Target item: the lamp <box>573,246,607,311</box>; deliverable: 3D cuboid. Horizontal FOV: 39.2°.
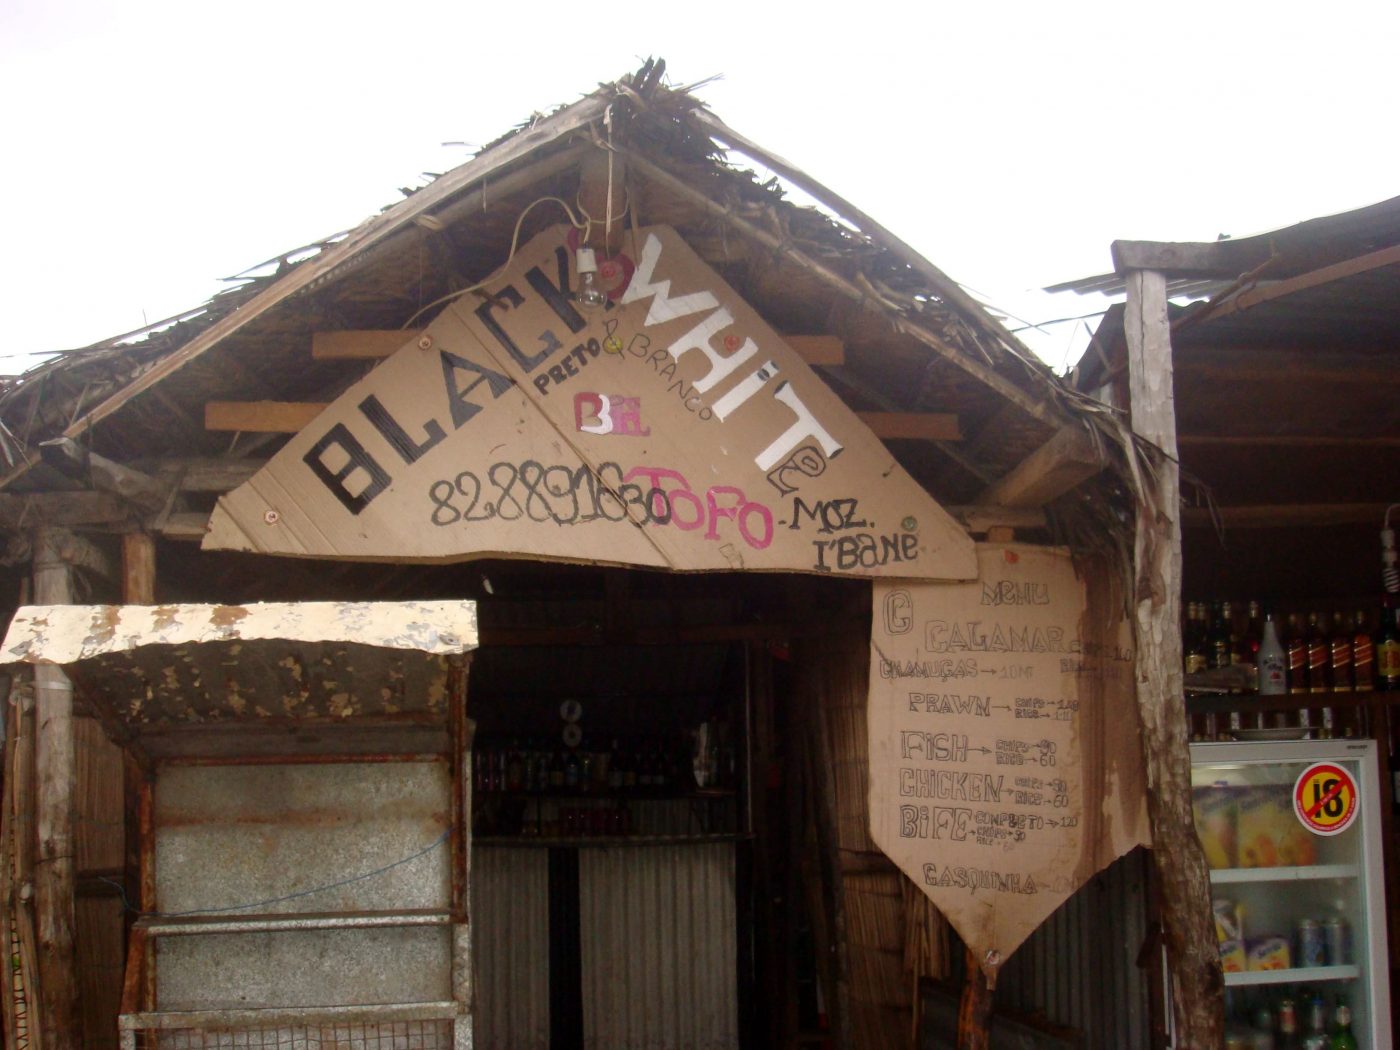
[{"bbox_3d":[-0.589,-1.334,10.450,0.169,0.365,0.359,0,-19,-3],"label":"lamp"}]
